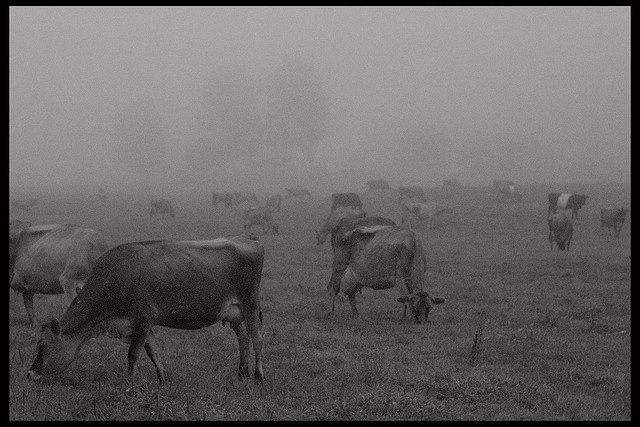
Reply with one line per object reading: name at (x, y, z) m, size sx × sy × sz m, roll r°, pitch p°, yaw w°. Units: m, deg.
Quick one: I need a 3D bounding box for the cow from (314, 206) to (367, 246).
cow at (0.719, 0.450, 17.615) m, size 1.805 × 1.015 × 0.501 m, roll -10°, pitch -3°, yaw 23°

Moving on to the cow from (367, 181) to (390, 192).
cow at (1.663, -0.769, 17.528) m, size 0.645 × 0.307 × 0.193 m, roll 1°, pitch 4°, yaw 3°

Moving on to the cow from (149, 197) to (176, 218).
cow at (-4.264, -0.167, 17.108) m, size 0.584 × 0.453 × 0.451 m, roll 1°, pitch -1°, yaw -11°

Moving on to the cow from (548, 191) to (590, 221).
cow at (6.593, -0.199, 16.754) m, size 1.135 × 0.689 × 0.328 m, roll -2°, pitch 0°, yaw 2°

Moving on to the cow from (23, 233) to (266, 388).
cow at (-3.316, 2.032, 12.393) m, size 4.609 × 3.082 × 1.340 m, roll -3°, pitch 9°, yaw -21°

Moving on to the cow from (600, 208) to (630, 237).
cow at (7.706, 0.213, 16.400) m, size 0.383 × 0.607 × 1.112 m, roll -1°, pitch 9°, yaw -12°

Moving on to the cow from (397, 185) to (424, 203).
cow at (2.539, -0.535, 17.309) m, size 0.464 × 0.488 × 0.322 m, roll -1°, pitch -3°, yaw 20°
